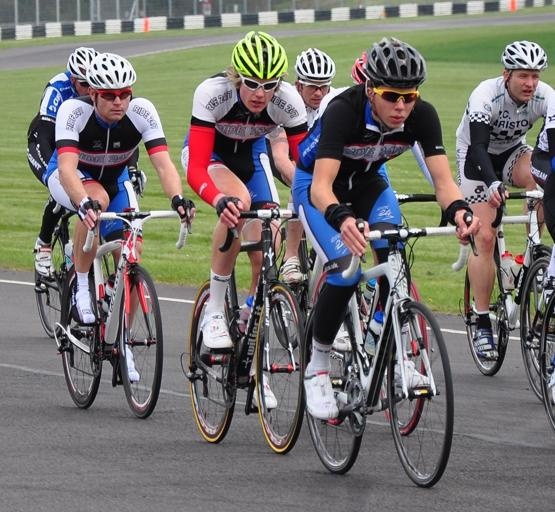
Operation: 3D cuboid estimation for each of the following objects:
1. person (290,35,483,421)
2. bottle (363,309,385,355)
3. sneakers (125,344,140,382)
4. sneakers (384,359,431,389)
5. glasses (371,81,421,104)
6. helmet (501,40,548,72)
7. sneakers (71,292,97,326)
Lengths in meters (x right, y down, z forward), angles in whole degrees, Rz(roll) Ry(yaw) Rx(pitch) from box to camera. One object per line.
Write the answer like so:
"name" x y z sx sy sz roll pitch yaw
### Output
"person" 0.529 -0.131 4.564 0.879 1.971 1.102 0 5 -1
"bottle" 0.493 0.392 4.538 0.078 0.097 0.247 1 46 20
"sneakers" -0.943 0.690 5.694 0.064 0.190 0.111 -13 -21 -6
"sneakers" 0.615 0.561 4.212 0.098 0.151 0.301 -1 5 -16
"glasses" 0.577 -0.782 4.282 0.199 0.086 0.083 -1 5 -8
"helmet" 1.873 -1.524 6.710 0.307 0.244 0.317 1 5 12
"sneakers" -1.360 0.389 6.168 0.128 0.087 0.260 7 36 -26
